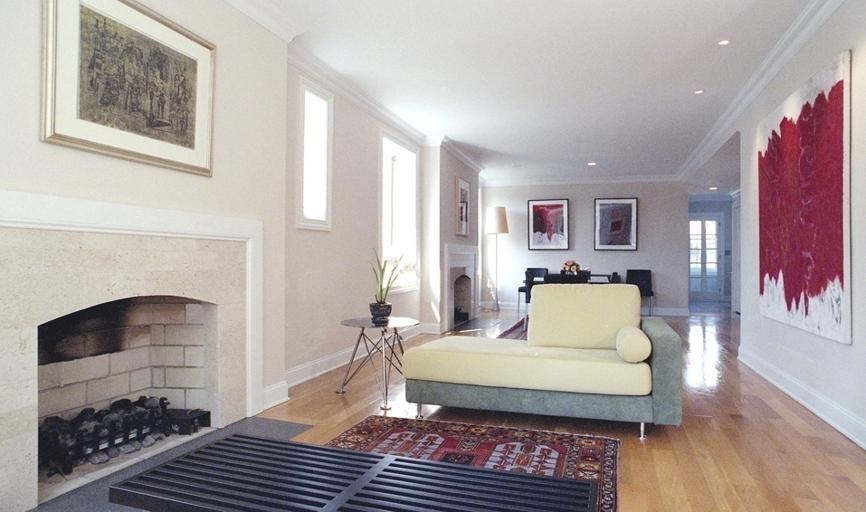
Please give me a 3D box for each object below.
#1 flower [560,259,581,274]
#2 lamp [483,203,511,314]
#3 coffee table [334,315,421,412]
[{"bbox_3d":[2.333,0.201,8.890,0.330,0.141,0.411,-1,-2,12],"label":"flower"},{"bbox_3d":[1.356,0.074,10.978,0.597,2.147,0.550,1,-1,12],"label":"lamp"},{"bbox_3d":[-0.630,1.082,5.533,0.772,0.722,0.796,7,2,-24],"label":"coffee table"}]
